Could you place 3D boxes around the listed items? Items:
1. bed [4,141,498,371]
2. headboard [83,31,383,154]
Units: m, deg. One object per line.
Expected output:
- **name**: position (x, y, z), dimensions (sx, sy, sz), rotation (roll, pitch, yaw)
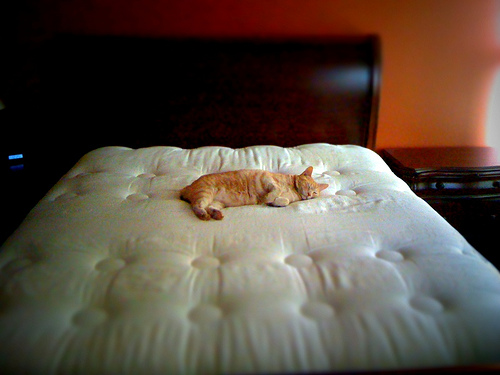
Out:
- **bed**: position (-0.049, 0.316, 1.490), dimensions (1.055, 0.242, 1.266), rotation (-1, 27, -1)
- **headboard**: position (-0.090, -0.606, 2.541), dimensions (1.936, 0.810, 0.152), rotation (1, 21, -4)
